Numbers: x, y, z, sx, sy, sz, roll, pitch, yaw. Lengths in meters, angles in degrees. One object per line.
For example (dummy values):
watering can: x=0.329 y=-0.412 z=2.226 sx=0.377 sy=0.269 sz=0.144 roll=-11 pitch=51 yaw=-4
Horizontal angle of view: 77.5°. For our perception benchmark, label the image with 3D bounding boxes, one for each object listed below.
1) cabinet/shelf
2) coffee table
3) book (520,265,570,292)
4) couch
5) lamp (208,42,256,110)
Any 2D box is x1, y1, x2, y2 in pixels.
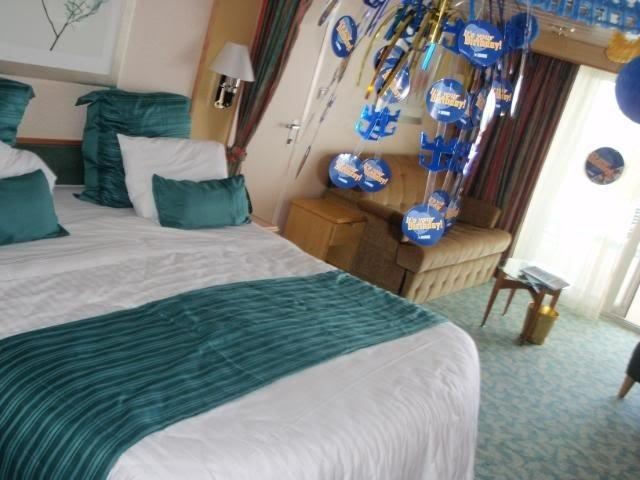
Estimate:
cabinet/shelf: x=0.012 y=-0.074 z=4.473 sx=0.717 sy=0.724 sz=0.676 roll=22 pitch=23 yaw=8
coffee table: x=2.138 y=0.637 z=4.297 sx=0.592 sy=0.706 sz=0.737 roll=25 pitch=20 yaw=32
book: x=2.270 y=0.359 z=4.148 sx=0.428 sy=0.100 sz=0.476 roll=-1 pitch=21 yaw=-29
couch: x=1.360 y=-0.253 z=4.947 sx=2.192 sy=1.404 sz=1.289 roll=-9 pitch=26 yaw=-43
lamp: x=-0.712 y=-1.279 z=3.149 sx=0.344 sy=0.486 sz=0.306 roll=12 pitch=20 yaw=-23
